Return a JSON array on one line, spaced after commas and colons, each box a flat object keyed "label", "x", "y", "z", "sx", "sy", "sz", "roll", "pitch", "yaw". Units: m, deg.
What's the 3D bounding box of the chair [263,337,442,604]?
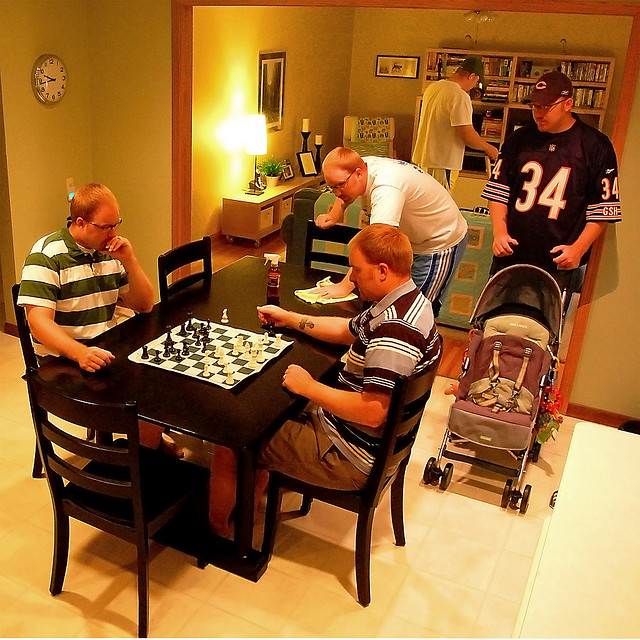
[{"label": "chair", "x": 0.095, "y": 0.495, "z": 2.155, "sx": 0.588, "sy": 0.980, "sz": 0.637, "roll": 3, "pitch": 20, "yaw": -8}]

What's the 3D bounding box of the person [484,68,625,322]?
[{"label": "person", "x": 1.271, "y": -0.684, "z": 3.018, "sx": 0.689, "sy": 1.236, "sz": 0.360, "roll": 8, "pitch": 21, "yaw": 16}]

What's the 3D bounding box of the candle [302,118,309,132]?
[{"label": "candle", "x": -0.207, "y": -2.739, "z": 7.717, "sx": 0.079, "sy": 0.171, "sz": 0.209, "roll": 0, "pitch": 21, "yaw": -6}]

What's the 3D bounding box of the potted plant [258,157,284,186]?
[{"label": "potted plant", "x": -0.604, "y": -1.841, "z": 6.840, "sx": 0.373, "sy": 0.313, "sz": 0.286, "roll": -6, "pitch": 22, "yaw": -21}]

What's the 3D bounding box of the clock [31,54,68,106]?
[{"label": "clock", "x": -1.842, "y": -1.642, "z": 3.760, "sx": 0.071, "sy": 0.323, "sz": 0.290, "roll": 6, "pitch": 21, "yaw": 12}]

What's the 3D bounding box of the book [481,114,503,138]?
[{"label": "book", "x": 2.468, "y": -2.785, "z": 7.947, "sx": 0.328, "sy": 0.371, "sz": 0.259, "roll": 3, "pitch": 11, "yaw": 17}]

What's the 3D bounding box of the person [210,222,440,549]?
[{"label": "person", "x": -0.007, "y": 0.289, "z": 2.111, "sx": 0.759, "sy": 1.332, "sz": 0.544, "roll": 16, "pitch": 9, "yaw": 26}]

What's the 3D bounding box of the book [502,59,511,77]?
[{"label": "book", "x": 2.586, "y": -3.536, "z": 7.671, "sx": 0.148, "sy": 0.264, "sz": 0.054, "roll": 5, "pitch": 1, "yaw": 20}]

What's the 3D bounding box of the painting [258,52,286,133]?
[{"label": "painting", "x": -0.603, "y": -2.827, "z": 6.738, "sx": 0.034, "sy": 1.159, "sz": 0.733, "roll": 11, "pitch": 21, "yaw": 18}]

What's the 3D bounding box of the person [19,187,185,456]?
[{"label": "person", "x": -0.939, "y": 0.012, "z": 2.398, "sx": 0.579, "sy": 1.109, "sz": 0.519, "roll": 12, "pitch": 24, "yaw": 7}]
